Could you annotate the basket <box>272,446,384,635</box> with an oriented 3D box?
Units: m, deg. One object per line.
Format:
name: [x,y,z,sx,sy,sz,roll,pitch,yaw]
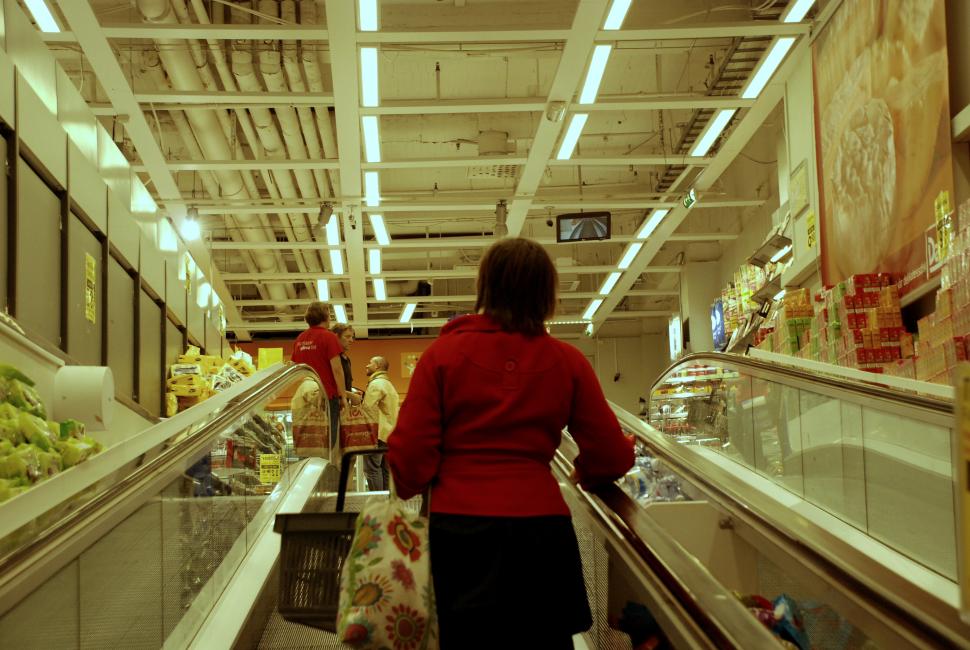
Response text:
basket: [-0.906,1.043,3.840,0.571,0.862,0.609,10,-23,-37]

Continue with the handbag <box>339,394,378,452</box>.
handbag: [-1.318,1.018,7.692,0.350,0.701,0.686,-2,-12,-5]

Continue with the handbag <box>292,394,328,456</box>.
handbag: [-1.397,0.806,5.894,0.305,0.474,0.227,-3,-7,4]
